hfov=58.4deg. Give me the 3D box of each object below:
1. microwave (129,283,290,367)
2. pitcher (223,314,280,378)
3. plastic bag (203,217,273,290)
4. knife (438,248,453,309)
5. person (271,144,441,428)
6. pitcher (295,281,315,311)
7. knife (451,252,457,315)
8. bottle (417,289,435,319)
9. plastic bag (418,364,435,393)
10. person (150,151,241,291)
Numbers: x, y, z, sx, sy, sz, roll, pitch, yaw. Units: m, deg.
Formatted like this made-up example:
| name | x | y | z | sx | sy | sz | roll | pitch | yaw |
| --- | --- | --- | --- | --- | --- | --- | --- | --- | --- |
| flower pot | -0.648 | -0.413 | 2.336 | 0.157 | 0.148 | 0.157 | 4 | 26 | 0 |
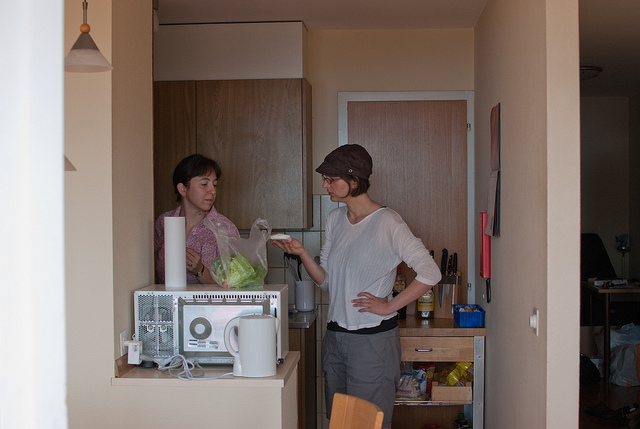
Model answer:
| name | x | y | z | sx | sy | sz | roll | pitch | yaw |
| --- | --- | --- | --- | --- | --- | --- | --- | --- | --- |
| microwave | -0.437 | 0.435 | 2.302 | 0.593 | 0.325 | 0.283 | -3 | -6 | 9 |
| pitcher | -0.233 | 0.463 | 2.146 | 0.173 | 0.238 | 0.219 | 0 | -2 | 7 |
| plastic bag | -0.335 | 0.137 | 2.396 | 0.225 | 0.294 | 0.237 | 4 | 3 | 2 |
| knife | 0.817 | 0.392 | 3.732 | 0.072 | 0.444 | 0.040 | 0 | -34 | 15 |
| person | 0.247 | 0.347 | 2.785 | 0.663 | 1.374 | 0.355 | -3 | -6 | 11 |
| pitcher | -0.092 | 0.501 | 3.556 | 0.113 | 0.182 | 0.125 | -2 | -6 | -3 |
| knife | 0.868 | 0.410 | 3.693 | 0.046 | 0.380 | 0.019 | 5 | -16 | -7 |
| bottle | 0.690 | 0.596 | 3.712 | 0.117 | 0.103 | 0.428 | 2 | 21 | 11 |
| plastic bag | 0.648 | 1.000 | 3.488 | 0.126 | 0.170 | 0.090 | 2 | 6 | 13 |
| person | -0.644 | -0.054 | 2.921 | 0.403 | 0.843 | 1.317 | 0 | -7 | -14 |
